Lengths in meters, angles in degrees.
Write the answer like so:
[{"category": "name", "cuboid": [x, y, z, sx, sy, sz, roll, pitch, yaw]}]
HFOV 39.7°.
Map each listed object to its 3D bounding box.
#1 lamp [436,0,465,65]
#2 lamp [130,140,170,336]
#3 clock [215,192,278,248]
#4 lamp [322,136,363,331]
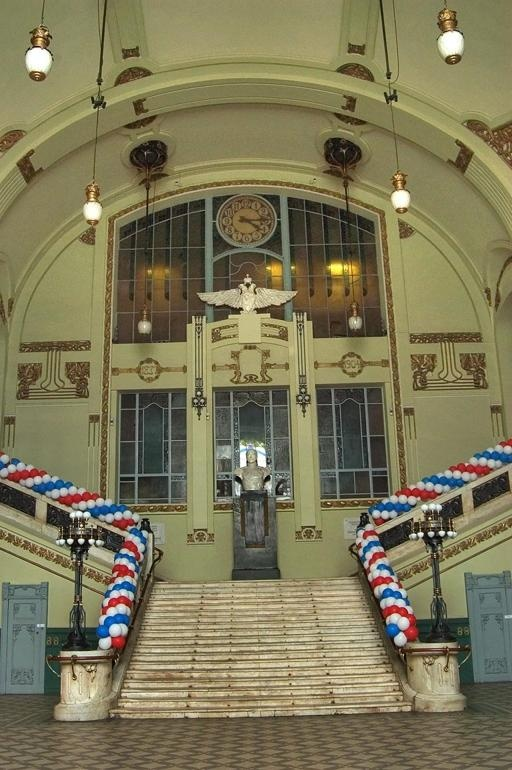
[{"category": "lamp", "cuboid": [1.538, -2.772, 5.606, 0.180, 0.494, 0.381, 1, 4, 15]}, {"category": "lamp", "cuboid": [-2.023, -2.703, 13.533, 0.721, 3.610, 2.142, 0, 4, -8]}, {"category": "clock", "cuboid": [-0.182, -3.312, 14.521, 1.331, 1.211, 0.108, 0, -12, 0]}, {"category": "lamp", "cuboid": [1.671, -2.779, 13.497, 0.770, 3.590, 2.323, 1, 4, 7]}]
